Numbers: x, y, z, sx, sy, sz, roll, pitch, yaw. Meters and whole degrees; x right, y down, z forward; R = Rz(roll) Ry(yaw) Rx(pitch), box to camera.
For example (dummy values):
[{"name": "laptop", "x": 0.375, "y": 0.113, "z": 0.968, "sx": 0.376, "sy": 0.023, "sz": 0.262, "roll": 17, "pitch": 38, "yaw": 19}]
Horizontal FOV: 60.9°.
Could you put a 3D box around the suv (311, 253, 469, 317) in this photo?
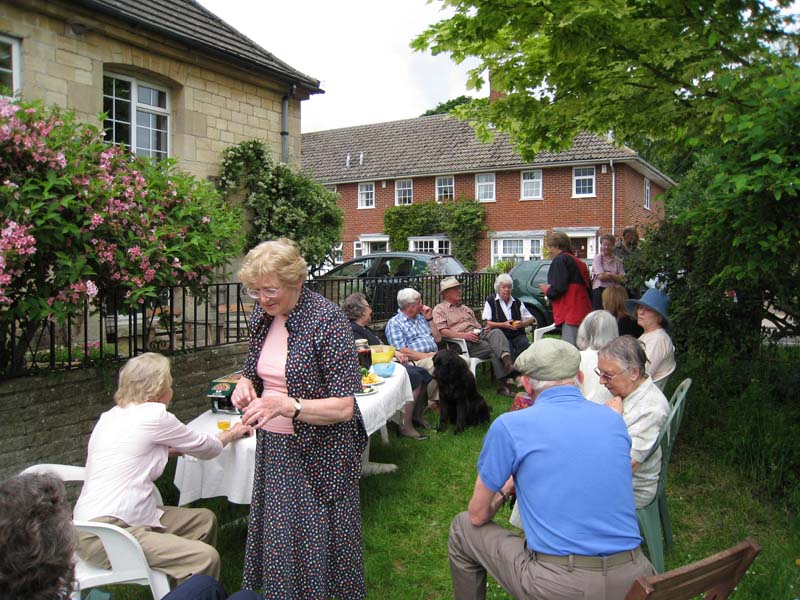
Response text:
[{"name": "suv", "x": -0.333, "y": -0.484, "z": 12.810, "sx": 2.524, "sy": 0.974, "sz": 1.346, "roll": 4, "pitch": 4, "yaw": 35}]

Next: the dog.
[{"name": "dog", "x": 0.715, "y": 1.001, "z": 7.814, "sx": 0.823, "sy": 0.965, "sz": 0.463, "roll": -4, "pitch": 7, "yaw": -39}]

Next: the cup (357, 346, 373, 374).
[{"name": "cup", "x": -0.326, "y": 0.549, "z": 6.362, "sx": 0.175, "sy": 0.307, "sz": 0.173, "roll": -2, "pitch": -3, "yaw": 0}]

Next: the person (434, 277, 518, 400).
[{"name": "person", "x": 1.001, "y": 0.451, "z": 8.954, "sx": 0.702, "sy": 1.585, "sz": 1.150, "roll": -13, "pitch": 6, "yaw": -42}]

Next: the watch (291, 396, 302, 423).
[{"name": "watch", "x": -0.579, "y": 0.610, "z": 3.866, "sx": 0.059, "sy": 0.104, "sz": 0.092, "roll": 9, "pitch": -20, "yaw": -25}]

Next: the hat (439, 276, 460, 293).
[{"name": "hat", "x": 0.649, "y": -0.214, "z": 9.115, "sx": 0.203, "sy": 0.098, "sz": 0.224, "roll": -22, "pitch": 4, "yaw": -8}]

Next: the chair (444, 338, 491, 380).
[{"name": "chair", "x": 0.911, "y": 0.802, "z": 8.972, "sx": 0.580, "sy": 0.817, "sz": 0.569, "roll": -5, "pitch": 5, "yaw": 0}]

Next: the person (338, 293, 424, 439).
[{"name": "person", "x": -0.131, "y": 0.704, "z": 7.503, "sx": 0.899, "sy": 1.591, "sz": 0.677, "roll": -4, "pitch": 2, "yaw": 4}]

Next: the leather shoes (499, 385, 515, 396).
[{"name": "leather shoes", "x": 1.406, "y": 1.200, "z": 8.985, "sx": 0.092, "sy": 0.176, "sz": 0.223, "roll": -1, "pitch": 0, "yaw": -42}]

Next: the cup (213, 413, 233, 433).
[{"name": "cup", "x": -1.263, "y": 0.890, "z": 4.917, "sx": 0.117, "sy": 0.086, "sz": 0.123, "roll": 3, "pitch": 12, "yaw": -1}]

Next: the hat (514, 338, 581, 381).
[{"name": "hat", "x": 0.919, "y": 0.299, "z": 3.949, "sx": 0.393, "sy": 0.159, "sz": 0.340, "roll": -8, "pitch": 3, "yaw": -6}]

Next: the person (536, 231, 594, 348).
[{"name": "person", "x": 2.133, "y": 0.012, "z": 8.739, "sx": 0.476, "sy": 1.746, "sz": 0.640, "roll": -6, "pitch": 0, "yaw": 45}]

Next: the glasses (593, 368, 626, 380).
[{"name": "glasses", "x": 1.490, "y": 0.519, "z": 4.820, "sx": 0.132, "sy": 0.043, "sz": 0.133, "roll": 2, "pitch": -2, "yaw": -11}]
